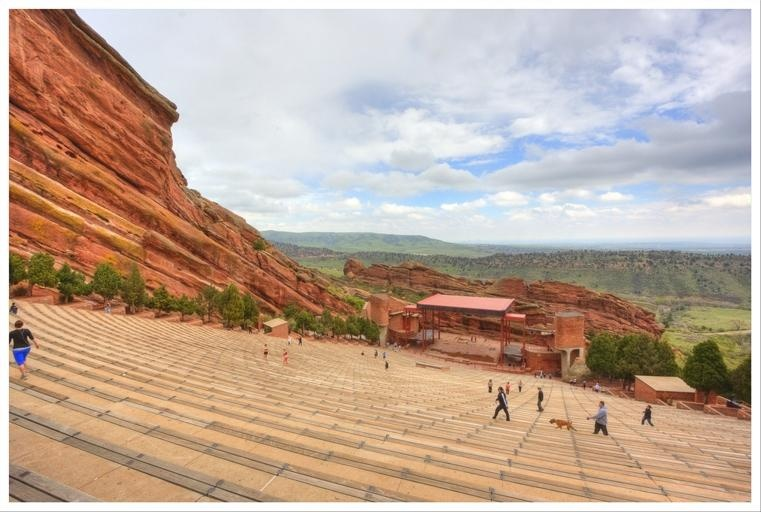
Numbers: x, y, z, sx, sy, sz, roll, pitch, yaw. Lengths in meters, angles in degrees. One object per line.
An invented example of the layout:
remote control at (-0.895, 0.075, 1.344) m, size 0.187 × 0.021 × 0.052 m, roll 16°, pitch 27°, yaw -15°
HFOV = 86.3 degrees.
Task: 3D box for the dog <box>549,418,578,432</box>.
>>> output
dog at (8.014, 7.338, 17.524) m, size 1.031 × 0.452 × 0.692 m, roll 9°, pitch -3°, yaw -41°

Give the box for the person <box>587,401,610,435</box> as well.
person at (9.711, 6.976, 17.521) m, size 0.691 × 1.390 × 1.802 m, roll 8°, pitch -2°, yaw 30°

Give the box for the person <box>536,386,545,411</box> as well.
person at (9.212, 8.157, 22.835) m, size 0.401 × 1.327 × 1.733 m, roll 8°, pitch -2°, yaw 25°

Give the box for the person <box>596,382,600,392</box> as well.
person at (20.278, 12.276, 37.276) m, size 0.381 × 0.597 × 1.233 m, roll 8°, pitch -2°, yaw 27°
